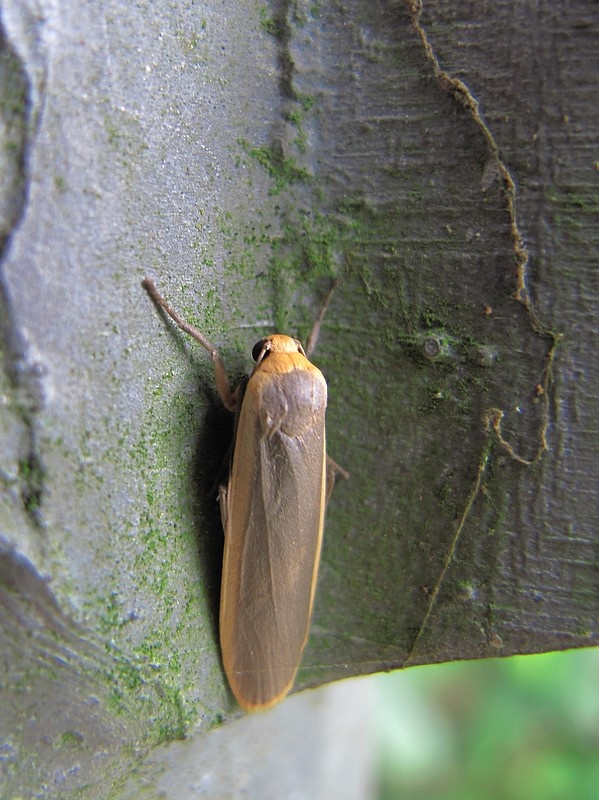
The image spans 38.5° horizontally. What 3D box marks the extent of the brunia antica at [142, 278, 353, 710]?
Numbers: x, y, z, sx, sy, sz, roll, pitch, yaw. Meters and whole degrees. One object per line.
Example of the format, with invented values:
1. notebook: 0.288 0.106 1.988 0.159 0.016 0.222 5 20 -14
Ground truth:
1. brunia antica: -0.086 0.177 1.449 0.383 0.621 0.157 0 -1 -39
